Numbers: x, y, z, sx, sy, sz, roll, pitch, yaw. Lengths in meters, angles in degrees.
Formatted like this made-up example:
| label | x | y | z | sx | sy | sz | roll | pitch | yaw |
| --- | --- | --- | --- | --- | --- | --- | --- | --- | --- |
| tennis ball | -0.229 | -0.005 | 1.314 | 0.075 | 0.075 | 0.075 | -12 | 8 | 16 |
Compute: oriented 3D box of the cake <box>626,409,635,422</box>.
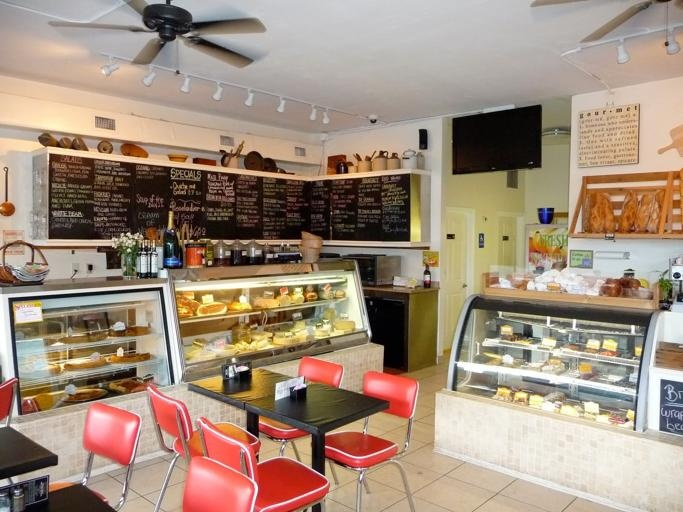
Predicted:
| label | x | y | z | sx | sy | sz | roll | pitch | yaw |
| --- | --- | --- | --- | --- | --- | --- | --- | --- | --- |
| cake | 2.148 | 1.185 | 3.673 | 0.073 | 0.068 | 0.070 | 3 | 2 | -44 |

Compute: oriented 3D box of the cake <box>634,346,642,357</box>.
| label | x | y | z | sx | sy | sz | roll | pitch | yaw |
| --- | --- | --- | --- | --- | --- | --- | --- | --- | --- |
| cake | 2.182 | 0.702 | 3.628 | 0.021 | 0.075 | 0.051 | -5 | 6 | -31 |

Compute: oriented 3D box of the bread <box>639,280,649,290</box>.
| label | x | y | z | sx | sy | sz | roll | pitch | yaw |
| --- | --- | --- | --- | --- | --- | --- | --- | --- | --- |
| bread | 2.800 | 0.270 | 4.580 | 0.025 | 0.093 | 0.101 | -3 | 7 | -39 |

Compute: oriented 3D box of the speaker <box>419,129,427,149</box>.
| label | x | y | z | sx | sy | sz | roll | pitch | yaw |
| --- | --- | --- | --- | --- | --- | --- | --- | --- | --- |
| speaker | 1.152 | -1.635 | 6.909 | 0.113 | 0.270 | 0.110 | -1 | 5 | 8 |

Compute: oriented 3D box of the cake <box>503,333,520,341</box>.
| label | x | y | z | sx | sy | sz | roll | pitch | yaw |
| --- | --- | --- | --- | --- | --- | --- | --- | --- | --- |
| cake | 1.444 | 0.691 | 4.201 | 0.074 | 0.030 | 0.072 | 2 | -2 | -42 |

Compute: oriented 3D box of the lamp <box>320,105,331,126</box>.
| label | x | y | z | sx | sy | sz | roll | pitch | yaw |
| --- | --- | --- | --- | --- | --- | --- | --- | --- | --- |
| lamp | -0.201 | -1.808 | 6.355 | 0.179 | 0.262 | 0.223 | 1 | -4 | 4 |

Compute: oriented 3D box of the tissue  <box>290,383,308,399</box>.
| label | x | y | z | sx | sy | sz | roll | pitch | yaw |
| --- | --- | --- | --- | --- | --- | --- | --- | --- | --- |
| tissue  | -0.288 | 0.934 | 3.430 | 0.079 | 0.089 | 0.146 | 6 | 5 | 41 |

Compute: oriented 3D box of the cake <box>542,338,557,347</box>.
| label | x | y | z | sx | sy | sz | roll | pitch | yaw |
| --- | --- | --- | --- | --- | --- | --- | --- | --- | --- |
| cake | 1.698 | 0.704 | 4.033 | 0.072 | 0.080 | 0.128 | 1 | -2 | -39 |

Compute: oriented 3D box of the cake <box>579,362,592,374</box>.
| label | x | y | z | sx | sy | sz | roll | pitch | yaw |
| --- | --- | --- | --- | --- | --- | --- | --- | --- | --- |
| cake | 1.923 | 0.884 | 3.895 | 0.080 | 0.092 | 0.087 | 0 | -6 | 40 |

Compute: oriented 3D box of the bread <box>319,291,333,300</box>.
| label | x | y | z | sx | sy | sz | roll | pitch | yaw |
| --- | --- | --- | --- | --- | --- | --- | --- | --- | --- |
| bread | -0.159 | 0.431 | 5.382 | 0.093 | 0.052 | 0.094 | 4 | 4 | 43 |

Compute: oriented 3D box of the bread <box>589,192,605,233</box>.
| label | x | y | z | sx | sy | sz | roll | pitch | yaw |
| --- | --- | --- | --- | --- | --- | --- | --- | --- | --- |
| bread | 2.725 | -0.467 | 5.257 | 0.144 | 0.417 | 0.226 | 1 | 6 | 25 |

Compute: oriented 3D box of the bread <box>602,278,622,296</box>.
| label | x | y | z | sx | sy | sz | roll | pitch | yaw |
| --- | --- | --- | --- | --- | --- | --- | --- | --- | --- |
| bread | 2.214 | 0.250 | 4.020 | 0.146 | 0.050 | 0.145 | -34 | 33 | -29 |

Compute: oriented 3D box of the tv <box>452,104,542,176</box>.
| label | x | y | z | sx | sy | sz | roll | pitch | yaw |
| --- | --- | --- | --- | --- | --- | --- | --- | --- | --- |
| tv | 1.929 | -1.470 | 6.137 | 1.040 | 0.642 | 0.106 | 1 | 1 | 38 |

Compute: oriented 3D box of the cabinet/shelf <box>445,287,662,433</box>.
| label | x | y | z | sx | sy | sz | roll | pitch | yaw |
| --- | --- | --- | --- | --- | --- | --- | --- | --- | --- |
| cabinet/shelf | 1.951 | 0.479 | 4.209 | 1.667 | 0.936 | 0.920 | 4 | 8 | 38 |

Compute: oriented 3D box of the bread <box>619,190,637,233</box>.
| label | x | y | z | sx | sy | sz | roll | pitch | yaw |
| --- | --- | --- | --- | --- | --- | --- | --- | --- | --- |
| bread | 2.969 | -0.439 | 5.103 | 0.156 | 0.471 | 0.157 | 16 | -14 | 10 |

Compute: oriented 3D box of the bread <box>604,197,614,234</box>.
| label | x | y | z | sx | sy | sz | roll | pitch | yaw |
| --- | --- | --- | --- | --- | --- | --- | --- | --- | --- |
| bread | 2.823 | -0.442 | 5.194 | 0.102 | 0.396 | 0.304 | 1 | 6 | 28 |

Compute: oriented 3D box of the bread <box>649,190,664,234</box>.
| label | x | y | z | sx | sy | sz | roll | pitch | yaw |
| --- | --- | --- | --- | --- | --- | --- | --- | --- | --- |
| bread | 3.154 | -0.431 | 4.942 | 0.137 | 0.448 | 0.126 | 9 | -12 | 6 |

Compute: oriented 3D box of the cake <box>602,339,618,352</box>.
| label | x | y | z | sx | sy | sz | roll | pitch | yaw |
| --- | --- | --- | --- | --- | --- | --- | --- | --- | --- |
| cake | 2.045 | 0.681 | 3.760 | 0.094 | 0.083 | 0.025 | 5 | -4 | 45 |

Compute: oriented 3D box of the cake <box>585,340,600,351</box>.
| label | x | y | z | sx | sy | sz | roll | pitch | yaw |
| --- | --- | --- | --- | --- | --- | --- | --- | --- | --- |
| cake | 1.954 | 0.692 | 3.830 | 0.023 | 0.076 | 0.085 | 13 | -3 | -41 |

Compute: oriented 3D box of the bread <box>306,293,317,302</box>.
| label | x | y | z | sx | sy | sz | roll | pitch | yaw |
| --- | --- | --- | --- | --- | --- | --- | --- | --- | --- |
| bread | -0.316 | 0.432 | 5.243 | 0.099 | 0.090 | 0.116 | -1 | 4 | 1 |

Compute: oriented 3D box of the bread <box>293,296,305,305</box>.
| label | x | y | z | sx | sy | sz | roll | pitch | yaw |
| --- | --- | --- | --- | --- | --- | --- | --- | --- | --- |
| bread | -0.443 | 0.456 | 5.132 | 0.104 | 0.078 | 0.085 | 17 | -25 | -33 |

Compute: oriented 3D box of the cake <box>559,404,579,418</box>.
| label | x | y | z | sx | sy | sz | roll | pitch | yaw |
| --- | --- | --- | --- | --- | --- | --- | --- | --- | --- |
| cake | 1.831 | 1.224 | 3.931 | 0.108 | 0.069 | 0.111 | 2 | -2 | -38 |

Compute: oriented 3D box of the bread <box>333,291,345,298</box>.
| label | x | y | z | sx | sy | sz | roll | pitch | yaw |
| --- | --- | --- | --- | --- | --- | --- | --- | --- | --- |
| bread | -0.016 | 0.432 | 5.489 | 0.089 | 0.051 | 0.074 | -2 | 3 | -1 |

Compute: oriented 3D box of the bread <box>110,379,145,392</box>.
| label | x | y | z | sx | sy | sz | roll | pitch | yaw |
| --- | --- | --- | --- | --- | --- | --- | --- | --- | --- |
| bread | -1.812 | 1.081 | 4.193 | 0.163 | 0.045 | 0.151 | 0 | 5 | -39 |

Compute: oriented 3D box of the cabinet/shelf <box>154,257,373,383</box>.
| label | x | y | z | sx | sy | sz | roll | pitch | yaw |
| --- | --- | --- | --- | --- | --- | --- | --- | --- | --- |
| cabinet/shelf | -1.042 | 0.744 | 5.360 | 2.717 | 0.881 | 1.185 | -5 | -15 | -33 |

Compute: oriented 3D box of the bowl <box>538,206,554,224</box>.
| label | x | y | z | sx | sy | sz | roll | pitch | yaw |
| --- | --- | --- | --- | --- | --- | --- | --- | --- | --- |
| bowl | 2.670 | -0.529 | 6.455 | 0.163 | 0.213 | 0.421 | 0 | 5 | 17 |

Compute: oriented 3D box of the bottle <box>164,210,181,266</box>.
| label | x | y | z | sx | sy | sz | roll | pitch | yaw |
| --- | --- | --- | --- | --- | --- | --- | --- | --- | --- |
| bottle | -1.546 | -0.151 | 4.523 | 0.169 | 0.501 | 0.387 | -4 | 6 | -17 |

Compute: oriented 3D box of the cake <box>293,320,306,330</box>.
| label | x | y | z | sx | sy | sz | roll | pitch | yaw |
| --- | --- | --- | --- | --- | --- | --- | --- | --- | --- |
| cake | -0.433 | 0.724 | 5.174 | 0.102 | 0.067 | 0.096 | 0 | -4 | 3 |

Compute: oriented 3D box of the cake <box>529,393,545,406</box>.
| label | x | y | z | sx | sy | sz | roll | pitch | yaw |
| --- | --- | --- | --- | --- | --- | --- | --- | --- | --- |
| cake | 1.611 | 1.182 | 4.081 | 0.102 | 0.091 | 0.073 | 6 | -4 | 20 |

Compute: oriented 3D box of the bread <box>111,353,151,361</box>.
| label | x | y | z | sx | sy | sz | roll | pitch | yaw |
| --- | --- | --- | --- | --- | --- | --- | --- | --- | --- |
| bread | -1.800 | 0.871 | 4.222 | 0.185 | 0.038 | 0.107 | -1 | -1 | -32 |

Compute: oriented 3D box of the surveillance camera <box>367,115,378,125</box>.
| label | x | y | z | sx | sy | sz | roll | pitch | yaw |
| --- | --- | --- | --- | --- | --- | --- | --- | --- | --- |
| surveillance camera | 0.430 | -1.900 | 6.835 | 0.091 | 0.076 | 0.092 | 5 | 9 | 24 |

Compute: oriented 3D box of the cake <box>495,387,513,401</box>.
| label | x | y | z | sx | sy | sz | roll | pitch | yaw |
| --- | --- | --- | --- | --- | --- | --- | --- | --- | --- |
| cake | 1.390 | 1.178 | 4.205 | 0.121 | 0.099 | 0.063 | -3 | -7 | 41 |

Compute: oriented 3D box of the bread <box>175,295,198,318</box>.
| label | x | y | z | sx | sy | sz | roll | pitch | yaw |
| --- | --- | --- | --- | --- | --- | --- | --- | --- | --- |
| bread | -1.373 | 0.456 | 4.387 | 0.178 | 0.166 | 0.065 | 11 | -25 | -38 |
